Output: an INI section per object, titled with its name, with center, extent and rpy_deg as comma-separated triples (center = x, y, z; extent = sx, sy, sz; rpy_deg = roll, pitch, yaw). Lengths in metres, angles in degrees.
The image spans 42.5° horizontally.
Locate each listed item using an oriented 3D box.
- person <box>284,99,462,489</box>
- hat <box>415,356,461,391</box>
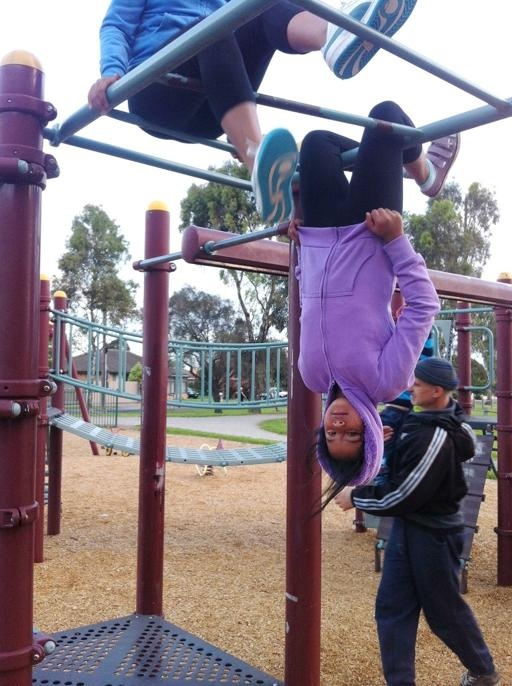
[person]
center = 0.249, -0.097, 1.700
extent = 0.237, 0.972, 0.421
rpy_deg = 3, -5, -40
[hat]
center = 0.758, 0.111, 2.759
extent = 0.161, 0.124, 0.130
rpy_deg = 30, 8, 14
